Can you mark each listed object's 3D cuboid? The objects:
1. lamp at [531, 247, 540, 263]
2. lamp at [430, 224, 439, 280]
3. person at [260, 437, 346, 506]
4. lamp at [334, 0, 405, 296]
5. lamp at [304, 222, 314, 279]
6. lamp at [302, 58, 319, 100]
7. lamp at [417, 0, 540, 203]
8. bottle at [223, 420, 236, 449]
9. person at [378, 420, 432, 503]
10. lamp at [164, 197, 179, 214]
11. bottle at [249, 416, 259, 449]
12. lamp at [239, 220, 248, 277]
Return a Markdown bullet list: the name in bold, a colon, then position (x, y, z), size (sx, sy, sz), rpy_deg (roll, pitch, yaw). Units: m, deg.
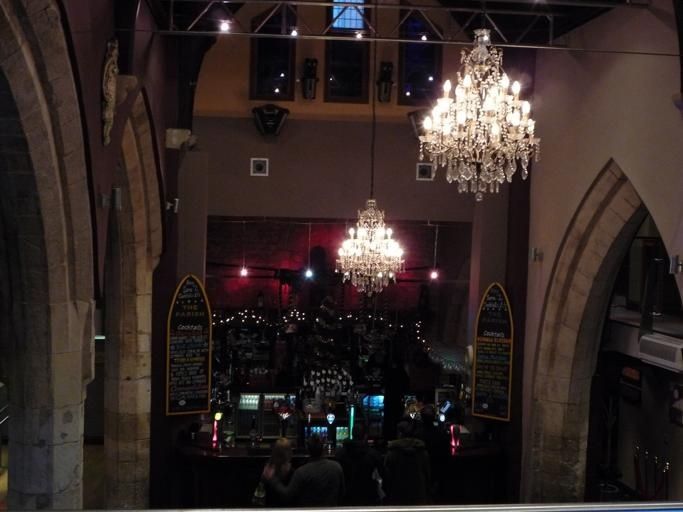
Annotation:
- **lamp**: position (2.949, -0.013, 11.594), size (0.054, 0.216, 0.229), rpy_deg (8, -7, -23)
- **lamp**: position (1.616, -0.053, 13.077), size (0.160, 0.924, 0.205), rpy_deg (4, -7, 6)
- **person**: position (-0.418, 2.435, 8.686), size (0.921, 0.836, 0.431), rpy_deg (6, -7, -1)
- **lamp**: position (0.591, -1.707, 12.026), size (0.966, 4.731, 1.880), rpy_deg (5, -7, 1)
- **lamp**: position (-0.531, -0.068, 12.996), size (0.156, 0.904, 0.203), rpy_deg (5, -7, -3)
- **lamp**: position (-0.531, -2.900, 12.636), size (0.278, 0.628, 0.252), rpy_deg (6, -7, -6)
- **lamp**: position (1.498, -1.575, 8.290), size (1.143, 2.074, 0.727), rpy_deg (6, -7, -2)
- **bottle**: position (-1.713, 2.704, 11.661), size (0.183, 0.363, 0.204), rpy_deg (7, -7, -14)
- **person**: position (0.851, 2.709, 9.952), size (0.865, 1.090, 0.503), rpy_deg (8, -7, -18)
- **lamp**: position (-2.561, -0.743, 11.471), size (0.177, 0.239, 0.150), rpy_deg (0, 3, 15)
- **bottle**: position (-1.331, 2.663, 11.620), size (0.135, 0.430, 0.250), rpy_deg (6, -7, -8)
- **lamp**: position (-1.647, -0.090, 12.889), size (0.117, 0.872, 0.257), rpy_deg (4, -7, 13)
